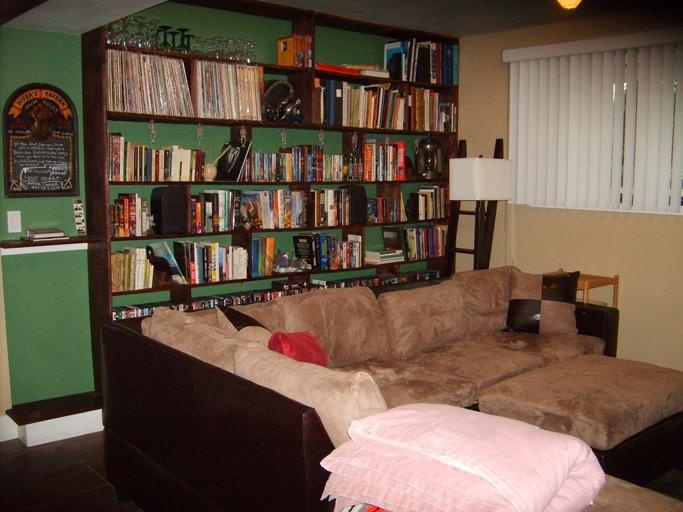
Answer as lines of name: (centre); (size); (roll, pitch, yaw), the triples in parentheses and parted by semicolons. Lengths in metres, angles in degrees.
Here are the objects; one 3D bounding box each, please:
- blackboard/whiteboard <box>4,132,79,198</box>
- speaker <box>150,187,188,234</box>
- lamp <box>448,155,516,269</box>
blackboard/whiteboard: (-2.080, -0.632, 3.736); (0.487, 0.463, 0.064); (-3, 4, -40)
speaker: (-1.206, -0.333, 4.107); (0.226, 0.332, 0.249); (-1, -1, 13)
lamp: (1.237, -0.208, 4.781); (0.536, 1.335, 0.486); (-1, 8, 13)
